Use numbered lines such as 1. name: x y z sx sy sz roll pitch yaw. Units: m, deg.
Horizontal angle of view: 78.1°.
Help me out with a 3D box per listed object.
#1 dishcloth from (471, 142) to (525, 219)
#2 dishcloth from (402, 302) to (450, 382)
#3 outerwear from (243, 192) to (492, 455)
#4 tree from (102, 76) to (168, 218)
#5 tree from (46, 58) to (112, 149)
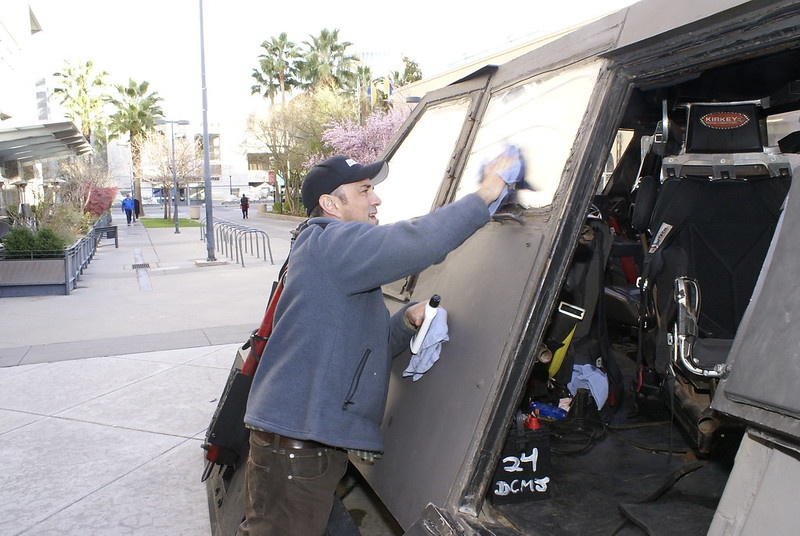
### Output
1. dishcloth: 0.454 -0.434 2.493 0.342 0.130 0.540 -28 -10 17
2. dishcloth: 0.107 0.362 2.305 0.119 0.288 0.269 24 12 4
3. outerwear: -0.134 0.232 2.678 1.261 1.404 0.904 6 1 -9
4. tree: -28.542 -14.695 52.959 4.816 10.700 8.065 -6 11 -30
5. tree: -32.997 -16.911 51.223 4.429 8.008 6.973 -6 12 -32
